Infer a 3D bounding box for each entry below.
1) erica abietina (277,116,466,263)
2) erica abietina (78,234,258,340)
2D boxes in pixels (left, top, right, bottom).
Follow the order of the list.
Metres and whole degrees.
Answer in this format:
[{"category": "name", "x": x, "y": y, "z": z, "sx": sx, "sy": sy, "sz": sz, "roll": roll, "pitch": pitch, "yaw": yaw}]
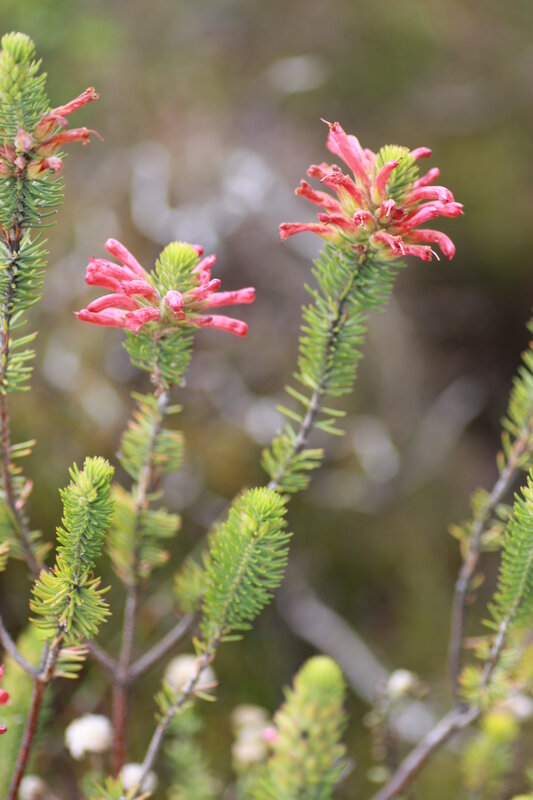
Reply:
[{"category": "erica abietina", "x": 0.141, "y": -0.302, "z": 1.590, "sx": 0.285, "sy": 0.258, "sz": 0.163, "roll": 26, "pitch": -59, "yaw": -19}, {"category": "erica abietina", "x": -0.165, "y": -0.150, "z": 1.520, "sx": 0.213, "sy": 0.100, "sz": 0.199, "roll": 4, "pitch": 0, "yaw": -33}]
